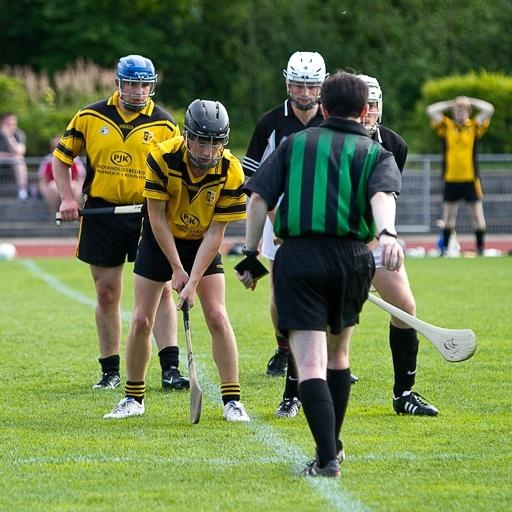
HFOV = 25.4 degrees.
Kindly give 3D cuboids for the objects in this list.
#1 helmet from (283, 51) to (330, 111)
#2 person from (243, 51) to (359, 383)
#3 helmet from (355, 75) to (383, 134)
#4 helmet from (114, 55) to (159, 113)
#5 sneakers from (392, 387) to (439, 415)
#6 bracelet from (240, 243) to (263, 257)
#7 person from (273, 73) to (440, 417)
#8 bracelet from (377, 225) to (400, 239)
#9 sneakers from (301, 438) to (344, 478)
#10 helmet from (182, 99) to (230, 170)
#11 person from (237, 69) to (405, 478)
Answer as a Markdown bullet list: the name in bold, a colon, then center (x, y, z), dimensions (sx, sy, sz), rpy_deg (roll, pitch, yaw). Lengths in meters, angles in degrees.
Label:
- **helmet**: center (0.326, -1.162, 7.517), dimensions (0.277, 0.416, 0.381), rpy_deg (1, 15, 1)
- **person**: center (0.290, -0.190, 7.647), dimensions (0.774, 2.338, 0.735), rpy_deg (5, 17, 12)
- **helmet**: center (0.712, -0.933, 6.928), dimensions (0.234, 0.360, 0.352), rpy_deg (0, -1, 3)
- **helmet**: center (-0.813, -1.174, 7.637), dimensions (0.248, 0.374, 0.361), rpy_deg (-3, 15, -25)
- **sneakers**: center (0.958, 0.874, 6.877), dimensions (0.245, 0.132, 0.118), rpy_deg (-3, 0, 32)
- **bracelet**: center (-0.031, -0.028, 6.031), dimensions (0.066, 0.044, 0.057), rpy_deg (16, 10, -9)
- **person**: center (0.722, 0.040, 6.654), dimensions (0.821, 2.319, 0.719), rpy_deg (-11, 24, -15)
- **bracelet**: center (0.648, -0.114, 5.653), dimensions (0.096, 0.070, 0.155), rpy_deg (0, 6, 7)
- **sneakers**: center (0.337, 1.028, 5.799), dimensions (0.210, 0.144, 0.328), rpy_deg (0, 6, 5)
- **helmet**: center (-0.308, -0.713, 6.607), dimensions (0.252, 0.386, 0.373), rpy_deg (6, 13, -19)
- **person**: center (0.337, 0.189, 5.800), dimensions (0.785, 1.786, 0.505), rpy_deg (-1, 5, -1)
